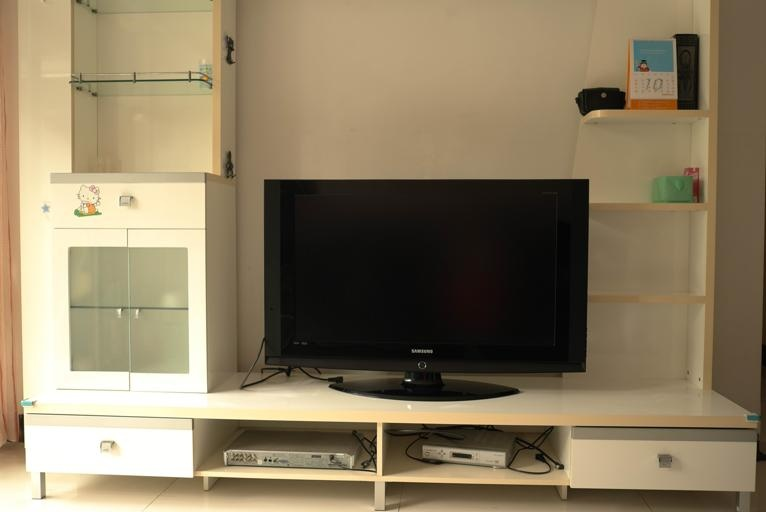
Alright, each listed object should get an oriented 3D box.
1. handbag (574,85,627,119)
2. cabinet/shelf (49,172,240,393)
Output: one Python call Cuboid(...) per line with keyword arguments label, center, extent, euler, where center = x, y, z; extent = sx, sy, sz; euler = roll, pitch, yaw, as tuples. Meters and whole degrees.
Cuboid(label="handbag", center=(1.206, -0.870, 4.031), extent=(0.201, 0.073, 0.157), euler=(0, -88, 7))
Cuboid(label="cabinet/shelf", center=(-1.323, 0.149, 4.235), extent=(0.906, 0.653, 1.196), euler=(0, -89, 5))
